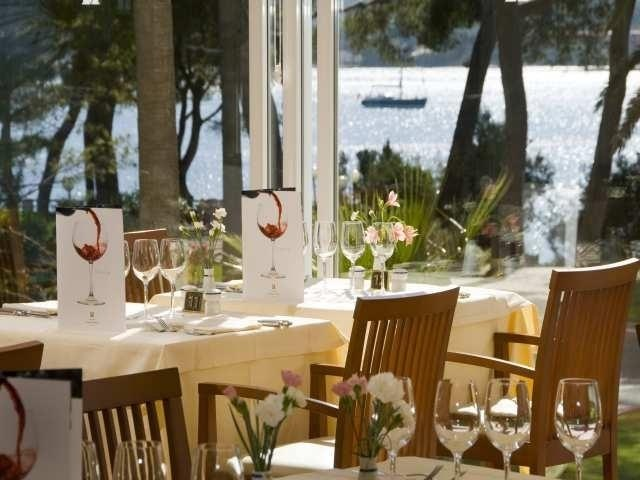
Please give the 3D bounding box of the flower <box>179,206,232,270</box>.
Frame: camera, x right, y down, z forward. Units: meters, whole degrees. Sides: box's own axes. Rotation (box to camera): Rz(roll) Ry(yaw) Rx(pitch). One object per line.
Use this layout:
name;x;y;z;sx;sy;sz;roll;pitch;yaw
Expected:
flower;-0.761;-0.017;5.585;0.287;0.552;0.323;3;8;36

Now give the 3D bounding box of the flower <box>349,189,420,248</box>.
flower;0.383;-0.179;4.715;0.325;0.431;0.410;-1;-18;0

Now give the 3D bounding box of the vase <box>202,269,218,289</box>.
vase;-0.561;0.192;4.232;0.073;0.144;0.078;-3;-2;38

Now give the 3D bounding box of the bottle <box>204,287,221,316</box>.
bottle;-0.504;0.290;3.970;0.076;0.172;0.093;0;-1;9

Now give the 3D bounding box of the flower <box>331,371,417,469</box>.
flower;0.173;0.546;2.504;0.269;0.309;0.101;-3;7;-15

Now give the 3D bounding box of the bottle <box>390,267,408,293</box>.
bottle;0.432;0.221;4.470;0.086;0.158;0.084;0;2;0

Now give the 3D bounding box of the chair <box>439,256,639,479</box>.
chair;1.214;0.547;4.220;0.815;1.618;0.743;3;3;43
